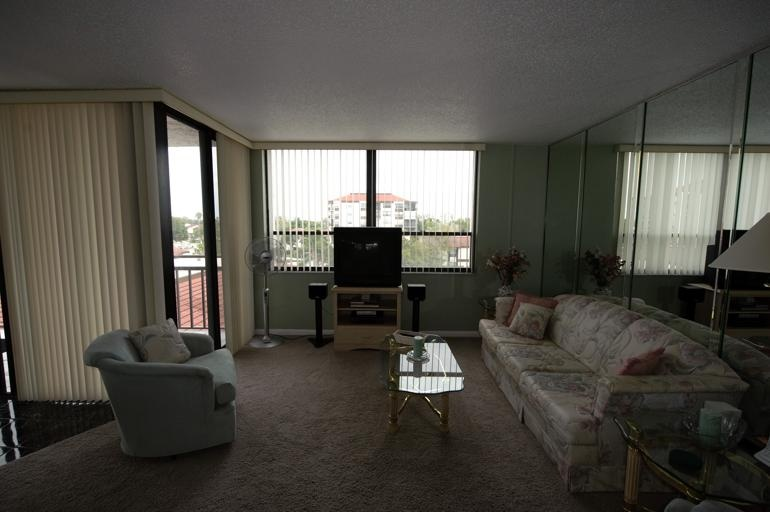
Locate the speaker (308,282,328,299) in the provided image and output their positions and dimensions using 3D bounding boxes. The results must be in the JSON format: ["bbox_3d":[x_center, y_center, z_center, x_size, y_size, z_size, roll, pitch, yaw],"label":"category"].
[{"bbox_3d":[-0.872,0.455,7.169,0.345,0.274,0.172,1,2,-2],"label":"speaker"}]

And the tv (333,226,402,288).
[{"bbox_3d":[-0.238,0.024,7.177,0.828,0.677,0.268,0,-1,-1],"label":"tv"}]

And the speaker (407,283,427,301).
[{"bbox_3d":[0.412,0.479,7.243,0.374,0.309,0.195,1,1,1],"label":"speaker"}]

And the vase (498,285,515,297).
[{"bbox_3d":[1.643,0.480,7.219,0.247,0.210,0.138,1,-5,2],"label":"vase"}]

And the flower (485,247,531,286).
[{"bbox_3d":[1.697,0.155,7.336,0.595,0.532,0.512,0,5,7],"label":"flower"}]

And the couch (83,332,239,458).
[{"bbox_3d":[-2.114,1.264,5.481,1.600,1.001,1.584,2,6,15],"label":"couch"}]

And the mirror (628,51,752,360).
[{"bbox_3d":[2.855,-0.647,5.247,1.050,1.819,0.023,-1,14,-15],"label":"mirror"}]

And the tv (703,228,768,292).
[{"bbox_3d":[2.994,0.039,4.562,0.604,0.558,0.310,0,0,31],"label":"tv"}]

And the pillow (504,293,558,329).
[{"bbox_3d":[1.752,0.669,6.495,0.740,0.229,0.791,-13,7,16],"label":"pillow"}]

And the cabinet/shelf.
[{"bbox_3d":[-0.187,0.833,7.159,0.934,0.840,0.511,0,7,9],"label":"cabinet/shelf"}]

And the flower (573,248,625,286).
[{"bbox_3d":[2.459,0.133,6.155,0.358,0.368,0.387,4,-4,-24],"label":"flower"}]

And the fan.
[{"bbox_3d":[-1.639,0.464,7.292,0.483,1.446,0.602,-3,6,-24],"label":"fan"}]

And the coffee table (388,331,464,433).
[{"bbox_3d":[0.334,1.320,5.834,0.868,0.414,1.732,1,10,0],"label":"coffee table"}]
